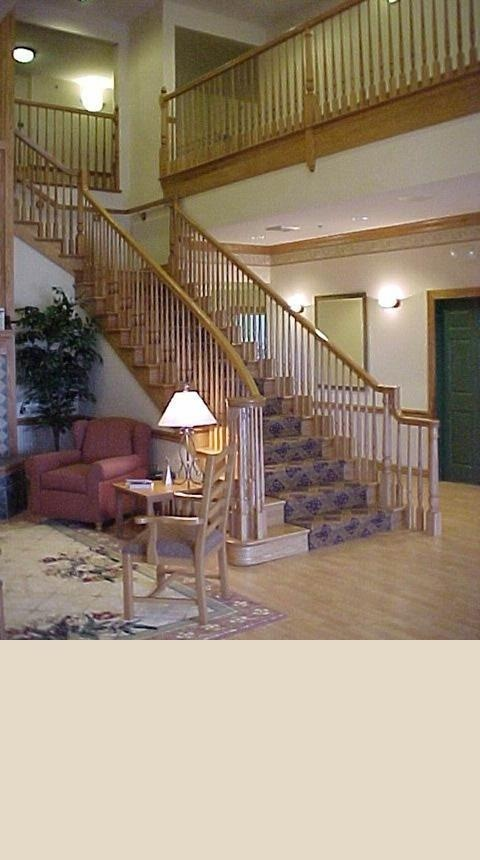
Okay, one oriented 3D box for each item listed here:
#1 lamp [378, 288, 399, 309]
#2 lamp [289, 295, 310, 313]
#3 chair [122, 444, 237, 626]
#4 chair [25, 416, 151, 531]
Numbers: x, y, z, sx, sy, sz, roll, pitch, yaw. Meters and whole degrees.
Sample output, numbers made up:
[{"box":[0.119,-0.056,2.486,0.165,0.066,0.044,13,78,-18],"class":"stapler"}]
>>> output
[{"box":[1.782,-1.582,7.410,0.079,0.251,0.193,0,8,-41],"class":"lamp"},{"box":[0.819,-1.804,8.795,0.092,0.305,0.408,3,-5,-44],"class":"lamp"},{"box":[-0.380,0.465,3.349,0.576,0.985,0.654,11,25,18],"class":"chair"},{"box":[-1.380,0.372,5.621,1.018,1.022,1.074,2,0,-24],"class":"chair"}]
